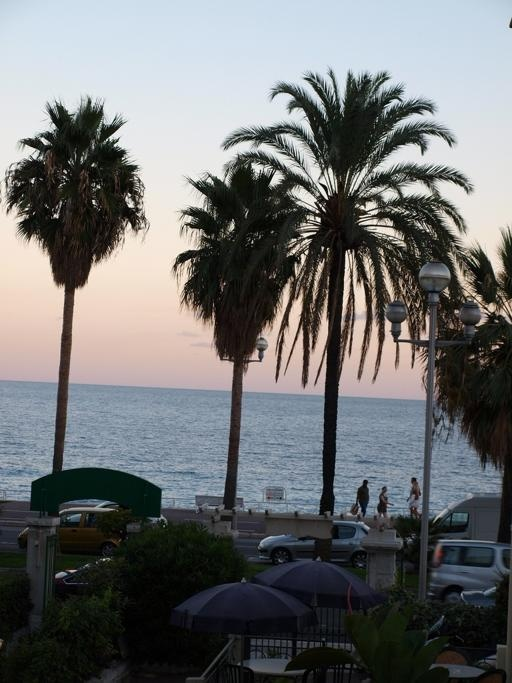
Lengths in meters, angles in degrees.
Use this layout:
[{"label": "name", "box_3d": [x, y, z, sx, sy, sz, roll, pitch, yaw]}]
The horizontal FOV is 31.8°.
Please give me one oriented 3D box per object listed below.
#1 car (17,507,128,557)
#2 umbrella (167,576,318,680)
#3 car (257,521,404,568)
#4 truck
[{"label": "car", "box_3d": [-4.814, 5.371, 25.162, 1.622, 1.337, 0.675, 2, -4, 13]}, {"label": "umbrella", "box_3d": [-0.192, 3.359, 10.613, 1.552, 0.955, 1.562, -2, -9, 20]}, {"label": "car", "box_3d": [1.911, 5.862, 23.780, 3.731, 1.448, 1.870, 2, -4, 8]}, {"label": "truck", "box_3d": [6.286, 5.306, 25.649, 3.525, 1.794, 1.652, 1, -9, -8]}]
